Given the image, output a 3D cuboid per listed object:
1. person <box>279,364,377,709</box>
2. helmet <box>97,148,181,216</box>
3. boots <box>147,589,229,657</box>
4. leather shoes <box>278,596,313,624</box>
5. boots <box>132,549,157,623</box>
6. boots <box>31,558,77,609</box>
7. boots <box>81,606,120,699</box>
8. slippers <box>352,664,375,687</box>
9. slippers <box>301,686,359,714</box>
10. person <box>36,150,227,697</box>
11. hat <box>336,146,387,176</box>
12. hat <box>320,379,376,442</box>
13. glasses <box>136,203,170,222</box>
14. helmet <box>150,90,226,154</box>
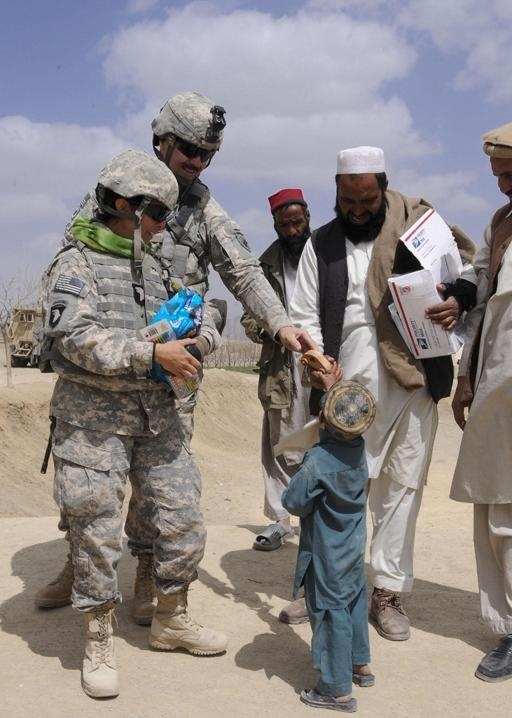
[{"bbox_3d":[0.313,0.742,2.982,0.387,1.371,0.405,6,0,20],"label":"person"},{"bbox_3d":[-0.498,-0.763,3.119,0.371,0.262,0.315,15,19,2],"label":"helmet"},{"bbox_3d":[-0.344,1.239,3.474,0.503,0.404,0.226,1,4,-5],"label":"boots"},{"bbox_3d":[0.277,1.365,3.897,0.151,0.132,0.353,-11,-22,33],"label":"leather shoes"},{"bbox_3d":[-0.635,1.205,3.880,0.170,0.359,0.397,5,-17,-16],"label":"boots"},{"bbox_3d":[-1.042,1.195,3.828,0.144,0.208,0.353,-6,-8,27],"label":"boots"},{"bbox_3d":[-0.641,1.198,2.991,0.166,0.354,0.283,5,0,-11],"label":"boots"},{"bbox_3d":[0.473,1.366,3.087,0.058,0.055,0.131,0,0,-2],"label":"slippers"},{"bbox_3d":[0.293,1.358,2.894,0.229,0.082,0.078,7,0,13],"label":"slippers"},{"bbox_3d":[-0.550,0.230,3.108,0.694,2.204,0.843,6,1,45],"label":"person"},{"bbox_3d":[0.543,-1.018,3.632,0.243,0.152,0.234,4,0,5],"label":"hat"},{"bbox_3d":[0.306,0.202,2.992,0.253,0.255,0.246,-15,9,-38],"label":"hat"},{"bbox_3d":[-0.443,-0.627,3.029,0.088,0.024,0.077,9,-6,9],"label":"glasses"},{"bbox_3d":[-0.355,-1.251,3.715,0.395,0.299,0.245,4,0,2],"label":"helmet"}]
